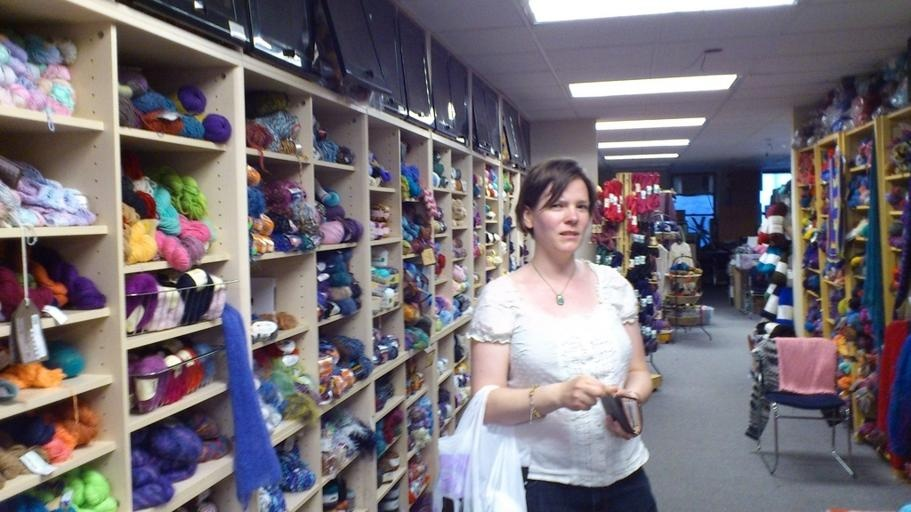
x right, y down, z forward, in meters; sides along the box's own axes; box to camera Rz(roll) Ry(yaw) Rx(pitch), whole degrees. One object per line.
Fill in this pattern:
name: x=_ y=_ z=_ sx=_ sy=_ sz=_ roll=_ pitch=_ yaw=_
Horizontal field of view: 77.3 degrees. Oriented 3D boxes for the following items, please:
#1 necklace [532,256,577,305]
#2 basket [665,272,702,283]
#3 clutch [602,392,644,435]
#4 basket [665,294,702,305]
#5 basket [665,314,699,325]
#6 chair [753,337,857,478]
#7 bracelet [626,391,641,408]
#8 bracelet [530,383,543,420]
necklace: x=0.409 y=0.110 z=2.413 sx=0.238 sy=0.189 sz=0.006 roll=0 pitch=-21 yaw=-12
basket: x=3.724 y=0.352 z=9.379 sx=0.527 sy=0.195 sz=0.771 roll=3 pitch=4 yaw=20
clutch: x=0.663 y=0.640 z=2.295 sx=0.158 sy=0.194 sz=0.125 roll=3 pitch=4 yaw=13
basket: x=3.725 y=0.742 z=9.425 sx=0.497 sy=0.246 sz=0.706 roll=3 pitch=4 yaw=17
basket: x=3.793 y=1.071 z=9.510 sx=0.631 sy=0.189 sz=0.319 roll=0 pitch=4 yaw=-21
chair: x=3.196 y=1.272 z=5.227 sx=0.736 sy=1.063 sz=1.469 roll=4 pitch=5 yaw=29
bracelet: x=0.704 y=0.578 z=2.274 sx=0.022 sy=0.065 sz=0.072 roll=-44 pitch=-28 yaw=27
bracelet: x=0.314 y=0.597 z=2.281 sx=0.042 sy=0.111 sz=0.095 roll=-4 pitch=-9 yaw=38
